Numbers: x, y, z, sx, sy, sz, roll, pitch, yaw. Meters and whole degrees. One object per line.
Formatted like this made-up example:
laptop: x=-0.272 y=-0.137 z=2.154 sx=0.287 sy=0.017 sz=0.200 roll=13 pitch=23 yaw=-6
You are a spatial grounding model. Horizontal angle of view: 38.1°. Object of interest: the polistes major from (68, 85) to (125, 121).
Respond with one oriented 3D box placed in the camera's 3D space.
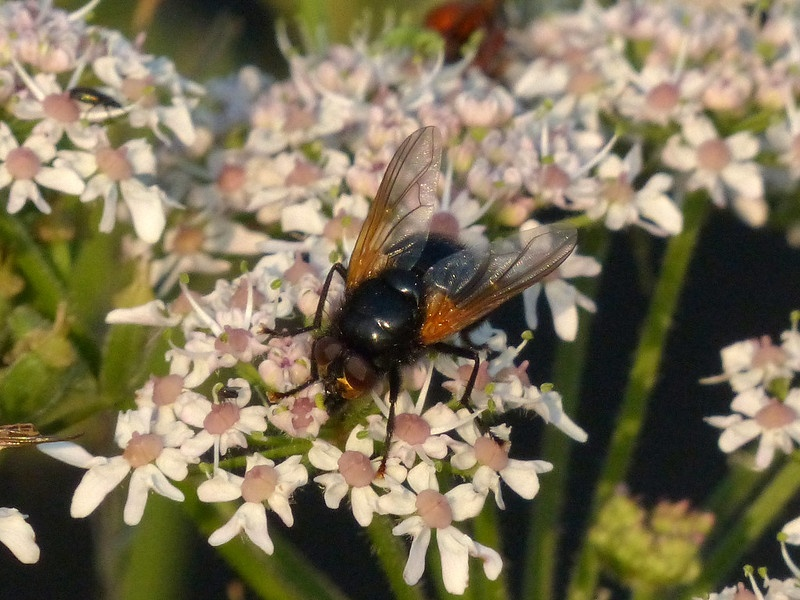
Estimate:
polistes major: x=-0.592 y=-0.383 z=2.250 sx=0.081 sy=0.061 sz=0.024 roll=12 pitch=-26 yaw=-31
